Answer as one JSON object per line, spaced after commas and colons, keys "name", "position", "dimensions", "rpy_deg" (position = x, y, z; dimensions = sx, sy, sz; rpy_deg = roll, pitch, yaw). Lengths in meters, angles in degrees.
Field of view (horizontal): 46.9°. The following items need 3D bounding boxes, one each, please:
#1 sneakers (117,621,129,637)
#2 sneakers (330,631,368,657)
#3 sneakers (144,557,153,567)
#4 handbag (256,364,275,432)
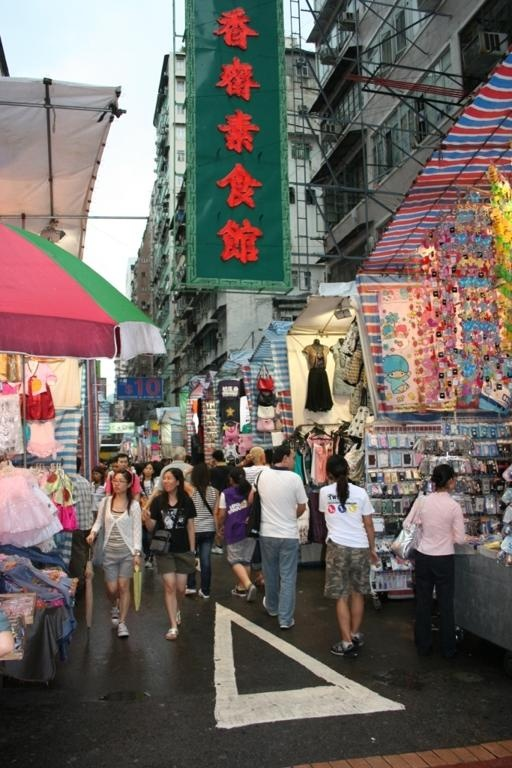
{"name": "sneakers", "position": [-1.339, 2.482, 5.967], "dimensions": [0.088, 0.119, 0.263], "rpy_deg": [6, -22, -16]}
{"name": "sneakers", "position": [0.789, 2.234, 5.080], "dimensions": [0.128, 0.144, 0.332], "rpy_deg": [1, -14, -9]}
{"name": "sneakers", "position": [-1.977, 3.325, 10.957], "dimensions": [0.102, 0.122, 0.282], "rpy_deg": [3, -22, -11]}
{"name": "handbag", "position": [0.167, 0.323, 11.756], "dimensions": [0.374, 1.292, 0.440], "rpy_deg": [-2, -3, 0]}
